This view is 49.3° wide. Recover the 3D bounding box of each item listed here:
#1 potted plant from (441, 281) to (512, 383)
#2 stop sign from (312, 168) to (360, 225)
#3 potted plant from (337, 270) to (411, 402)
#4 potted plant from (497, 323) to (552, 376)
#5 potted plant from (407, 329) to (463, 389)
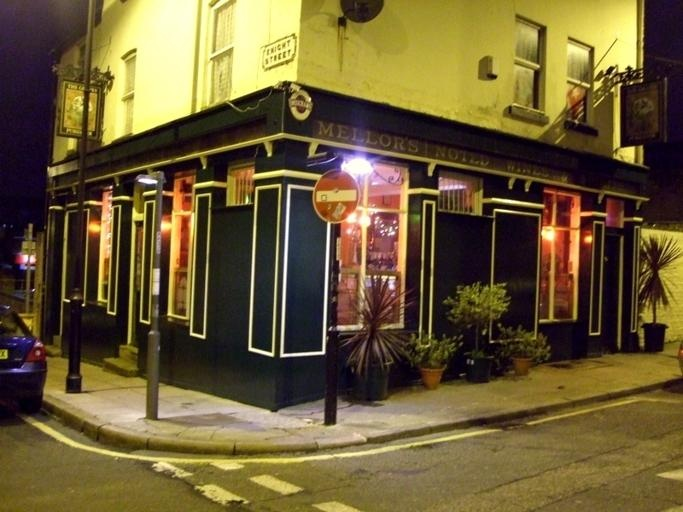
[{"bbox_3d":[2.888,1.723,17.151,1.729,3.033,1.910,1,-5,-8],"label":"potted plant"},{"bbox_3d":[-0.090,-1.060,13.266,0.802,1.098,0.104,0,-29,3],"label":"stop sign"},{"bbox_3d":[0.759,1.561,15.551,1.263,2.541,2.012,3,6,26],"label":"potted plant"},{"bbox_3d":[4.347,2.253,17.619,0.935,1.120,1.023,1,5,37],"label":"potted plant"},{"bbox_3d":[2.260,2.389,16.137,0.815,1.068,0.964,17,-11,-22],"label":"potted plant"}]
